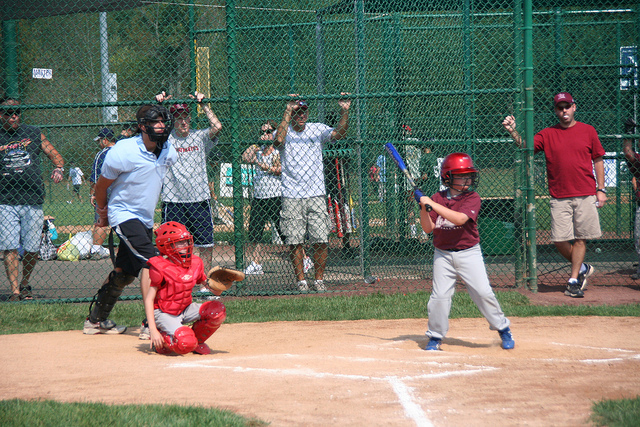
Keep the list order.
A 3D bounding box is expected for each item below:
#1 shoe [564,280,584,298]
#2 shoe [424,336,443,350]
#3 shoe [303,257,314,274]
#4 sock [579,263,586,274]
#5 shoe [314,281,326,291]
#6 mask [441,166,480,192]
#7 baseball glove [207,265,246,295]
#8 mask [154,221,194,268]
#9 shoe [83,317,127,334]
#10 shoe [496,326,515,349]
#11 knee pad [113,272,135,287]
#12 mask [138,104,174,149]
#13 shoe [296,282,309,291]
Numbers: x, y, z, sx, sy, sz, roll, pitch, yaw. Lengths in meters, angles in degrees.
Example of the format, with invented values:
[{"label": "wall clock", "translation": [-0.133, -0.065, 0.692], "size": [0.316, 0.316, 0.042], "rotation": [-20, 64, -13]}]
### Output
[{"label": "shoe", "translation": [3.580, 1.060, 10.306], "size": [0.259, 0.249, 0.157], "rotation": [-2, 2, 17]}, {"label": "shoe", "translation": [1.318, 1.517, 8.586], "size": [0.194, 0.155, 0.187], "rotation": [-2, 2, 7]}, {"label": "shoe", "translation": [-0.195, 0.764, 11.391], "size": [0.162, 0.253, 0.074], "rotation": [-9, 35, -39]}, {"label": "sock", "translation": [3.746, 0.779, 10.444], "size": [0.070, 0.184, 0.059], "rotation": [34, -19, -36]}, {"label": "shoe", "translation": [-0.017, 1.075, 10.697], "size": [0.151, 0.149, 0.101], "rotation": [8, -31, -33]}, {"label": "mask", "translation": [1.657, -0.404, 8.675], "size": [0.421, 0.293, 0.366], "rotation": [-2, 2, 8]}, {"label": "baseball glove", "translation": [-1.116, 0.767, 8.664], "size": [0.392, 0.305, 0.134], "rotation": [22, 16, -5]}, {"label": "mask", "translation": [-1.742, 0.341, 8.681], "size": [0.423, 0.543, 0.523], "rotation": [-10, 9, -36]}, {"label": "shoe", "translation": [-2.736, 1.431, 9.286], "size": [0.510, 0.257, 0.218], "rotation": [0, 3, -13]}, {"label": "shoe", "translation": [2.192, 1.481, 8.621], "size": [0.112, 0.342, 0.142], "rotation": [-28, -16, 33]}, {"label": "knee pad", "translation": [-2.398, 0.813, 8.935], "size": [0.171, 0.163, 0.204], "rotation": [-7, 33, -33]}, {"label": "mask", "translation": [-1.910, -1.037, 8.550], "size": [0.384, 0.486, 0.428], "rotation": [-7, 1, -42]}, {"label": "shoe", "translation": [-0.255, 1.068, 10.687], "size": [0.100, 0.119, 0.086], "rotation": [7, -5, -12]}]
